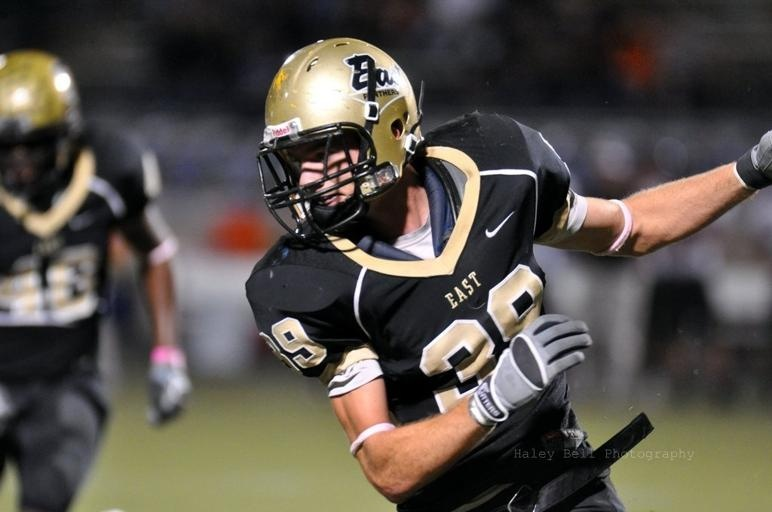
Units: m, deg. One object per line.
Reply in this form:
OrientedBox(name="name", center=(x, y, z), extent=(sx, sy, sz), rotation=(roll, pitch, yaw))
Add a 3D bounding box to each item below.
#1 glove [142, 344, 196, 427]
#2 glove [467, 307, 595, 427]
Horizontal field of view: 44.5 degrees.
OrientedBox(name="glove", center=(-1.209, 0.682, 5.257), extent=(0.289, 0.405, 0.951), rotation=(2, 5, -21))
OrientedBox(name="glove", center=(0.633, 0.512, 4.239), extent=(0.627, 0.328, 0.189), rotation=(-39, -16, 0))
